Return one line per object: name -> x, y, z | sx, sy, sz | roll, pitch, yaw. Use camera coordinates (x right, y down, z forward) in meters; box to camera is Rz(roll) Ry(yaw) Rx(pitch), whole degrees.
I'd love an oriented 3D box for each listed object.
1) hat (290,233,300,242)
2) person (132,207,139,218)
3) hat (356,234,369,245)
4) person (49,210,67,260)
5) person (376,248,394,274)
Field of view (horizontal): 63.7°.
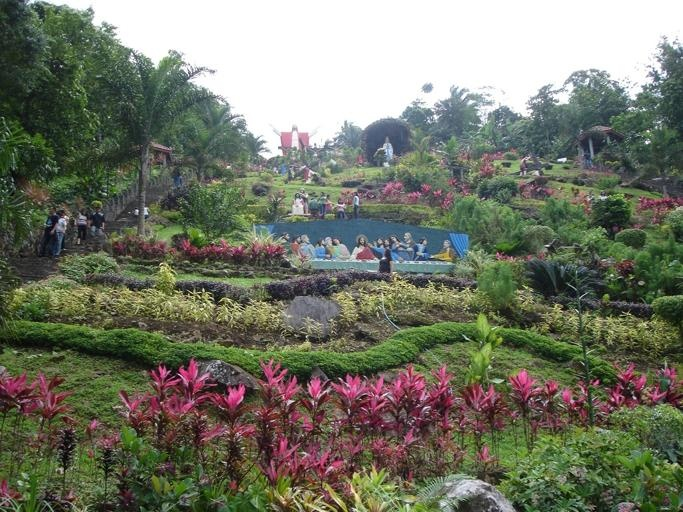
hat -> -1.564, -0.672, 18.374 | 0.265, 0.420, 0.359 | -8, 10, -24
person -> -8.906, -1.882, 23.763 | 0.203, 0.535, 1.585 | 5, -5, -24
hat -> 0.701, -0.561, 19.137 | 0.321, 0.370, 0.420 | 4, -4, -5
person -> -8.146, -0.670, 15.867 | 0.302, 1.383, 0.828 | 5, -5, -28
person -> 1.303, 0.137, 16.347 | 0.375, 0.733, 1.115 | 3, -4, 5
